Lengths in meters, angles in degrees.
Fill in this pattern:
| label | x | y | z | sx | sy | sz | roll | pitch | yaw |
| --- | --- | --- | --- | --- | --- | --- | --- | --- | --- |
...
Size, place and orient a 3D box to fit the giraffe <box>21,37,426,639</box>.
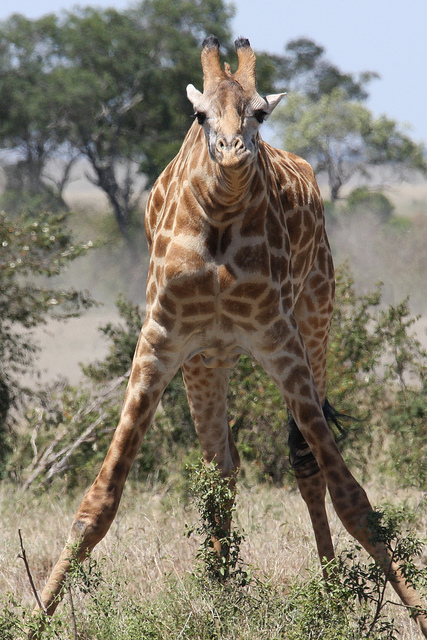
| label | x | y | z | sx | sy | sz | roll | pitch | yaw |
| --- | --- | --- | --- | --- | --- | --- | --- | --- | --- |
| giraffe | 0.070 | 0.030 | 4.799 | 2.230 | 2.917 | 1.415 | -5 | 7 | -37 |
